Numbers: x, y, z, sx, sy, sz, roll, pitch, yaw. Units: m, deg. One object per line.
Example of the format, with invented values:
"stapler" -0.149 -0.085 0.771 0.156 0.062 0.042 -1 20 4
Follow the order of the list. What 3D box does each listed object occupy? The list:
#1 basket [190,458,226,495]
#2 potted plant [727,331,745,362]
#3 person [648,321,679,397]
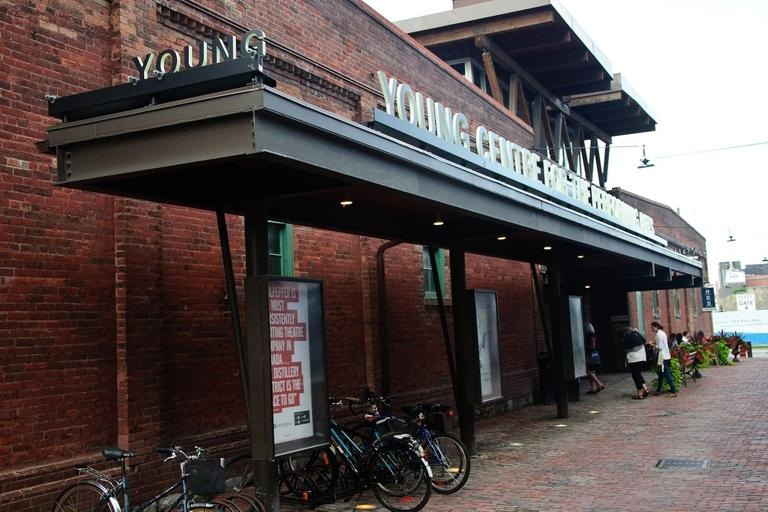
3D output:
"basket" -1.998 2.512 6.773 0.472 0.427 0.165 0 -3 -7
"potted plant" 18.967 4.986 32.058 0.706 1.364 3.105 -8 -8 30
"person" 8.858 3.259 19.030 0.532 2.292 0.892 -6 -7 19
